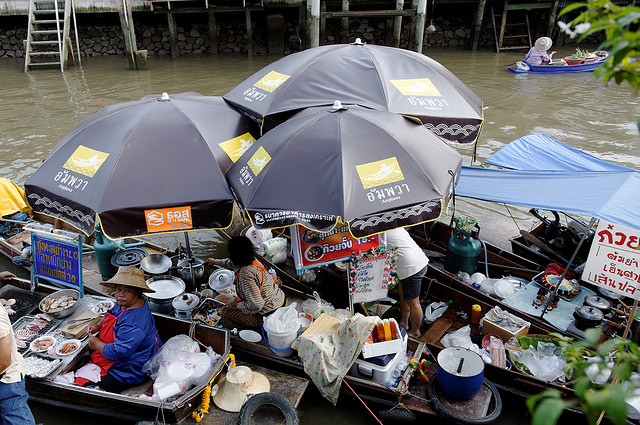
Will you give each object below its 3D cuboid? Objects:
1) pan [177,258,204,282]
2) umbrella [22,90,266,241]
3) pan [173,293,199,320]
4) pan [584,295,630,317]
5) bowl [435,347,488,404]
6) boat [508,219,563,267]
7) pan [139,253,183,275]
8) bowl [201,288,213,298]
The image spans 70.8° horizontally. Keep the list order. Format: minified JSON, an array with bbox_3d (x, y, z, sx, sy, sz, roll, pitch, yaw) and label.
[{"bbox_3d":[-2.335,0.942,8.198,0.422,0.256,0.416,-6,29,-12],"label":"pan"},{"bbox_3d":[-2.651,-0.768,6.949,3.150,1.864,1.723,-4,16,-9],"label":"umbrella"},{"bbox_3d":[-2.220,1.519,7.504,0.407,0.306,0.500,3,14,5],"label":"pan"},{"bbox_3d":[4.539,1.476,7.248,0.251,0.101,0.430,-11,23,-31],"label":"pan"},{"bbox_3d":[2.039,2.288,6.631,0.665,0.551,0.752,-1,24,2],"label":"bowl"},{"bbox_3d":[4.170,0.633,8.767,0.784,0.227,0.791,32,62,25],"label":"boat"},{"bbox_3d":[-2.972,0.915,8.205,0.561,0.100,0.392,15,28,-4],"label":"pan"},{"bbox_3d":[-1.996,1.413,7.993,0.150,0.053,0.150,8,26,-4],"label":"bowl"}]
